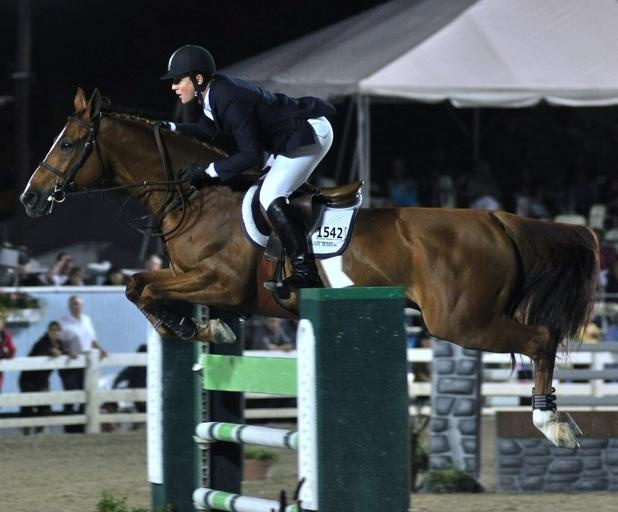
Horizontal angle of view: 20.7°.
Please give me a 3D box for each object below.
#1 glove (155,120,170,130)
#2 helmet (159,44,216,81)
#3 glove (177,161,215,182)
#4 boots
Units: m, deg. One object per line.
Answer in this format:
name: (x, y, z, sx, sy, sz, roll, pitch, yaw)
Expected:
glove: (-1.124, -1.000, 12.995, 0.141, 0.042, 0.044, 6, -30, 1)
helmet: (-0.889, -1.472, 12.776, 0.466, 0.199, 0.320, -2, 14, -2)
glove: (-0.862, -0.620, 12.727, 0.263, 0.120, 0.073, 0, 39, -3)
boots: (-0.104, -0.054, 12.618, 0.390, 0.745, 0.152, -3, -6, -4)
